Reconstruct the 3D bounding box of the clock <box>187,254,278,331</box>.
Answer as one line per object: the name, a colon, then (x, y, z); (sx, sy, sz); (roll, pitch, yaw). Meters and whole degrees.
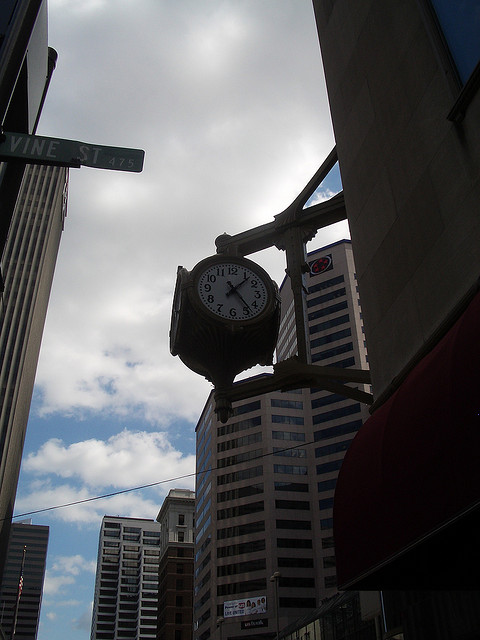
clock: (-0.153, -0.309, 8.846); (0.884, 1.145, 0.147); (6, -37, -14)
